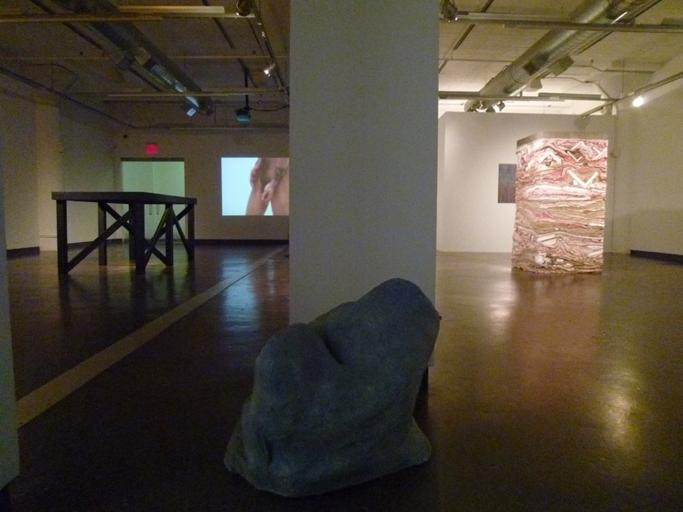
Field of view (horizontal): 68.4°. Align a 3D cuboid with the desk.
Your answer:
[{"bbox_3d":[-2.942,-0.362,7.270,1.073,1.096,2.151,-2,2,8],"label":"desk"}]
